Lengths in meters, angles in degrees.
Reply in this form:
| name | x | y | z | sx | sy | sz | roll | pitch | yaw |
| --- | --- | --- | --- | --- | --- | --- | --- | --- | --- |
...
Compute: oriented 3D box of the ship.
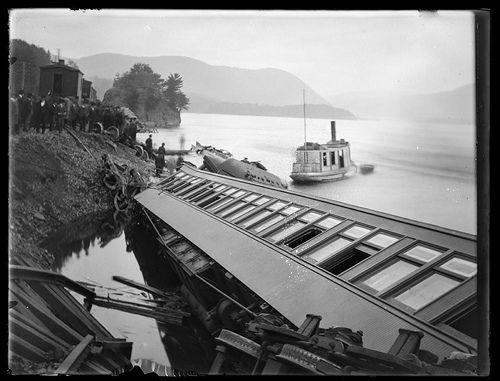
| name | x | y | z | sx | sy | sz | roll | pitch | yaw |
| --- | --- | --- | --- | --- | --- | --- | --- | --- | --- |
| ship | 3.023 | -1.658 | 14.530 | 3.330 | 2.464 | 1.580 | -12 | 18 | -42 |
